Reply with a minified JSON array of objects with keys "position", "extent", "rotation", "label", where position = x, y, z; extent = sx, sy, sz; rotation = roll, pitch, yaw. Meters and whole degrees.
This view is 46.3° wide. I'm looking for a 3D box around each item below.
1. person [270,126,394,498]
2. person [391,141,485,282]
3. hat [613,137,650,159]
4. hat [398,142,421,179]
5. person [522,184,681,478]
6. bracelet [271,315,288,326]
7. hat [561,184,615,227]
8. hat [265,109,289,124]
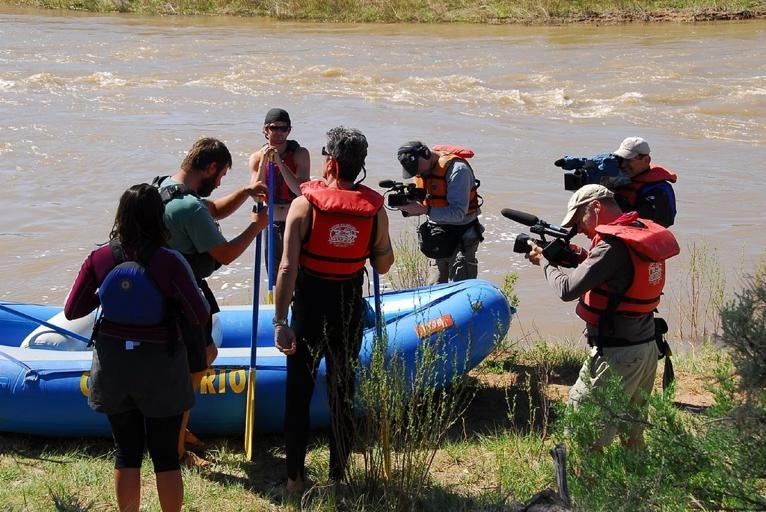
[{"position":[-0.429,0.461,7.490],"extent":[0.896,3.030,0.612],"rotation":[2,13,-1],"label":"person"},{"position":[0.615,-0.419,9.486],"extent":[0.922,1.568,0.656],"rotation":[2,13,0],"label":"person"},{"position":[2.445,-1.052,8.777],"extent":[0.315,0.160,0.225],"rotation":[-2,8,-7],"label":"hat"},{"position":[0.288,-0.995,9.303],"extent":[0.240,0.388,0.278],"rotation":[2,12,1],"label":"hat"},{"position":[1.864,0.527,7.531],"extent":[1.118,2.151,1.095],"rotation":[10,15,33],"label":"person"},{"position":[-0.835,0.537,7.390],"extent":[0.083,0.054,0.108],"rotation":[1,4,-3],"label":"bracelet"},{"position":[1.797,-0.447,7.787],"extent":[0.475,0.241,0.300],"rotation":[-18,0,6],"label":"hat"},{"position":[-1.109,-1.475,9.463],"extent":[0.233,0.149,0.211],"rotation":[3,12,5],"label":"hat"}]
